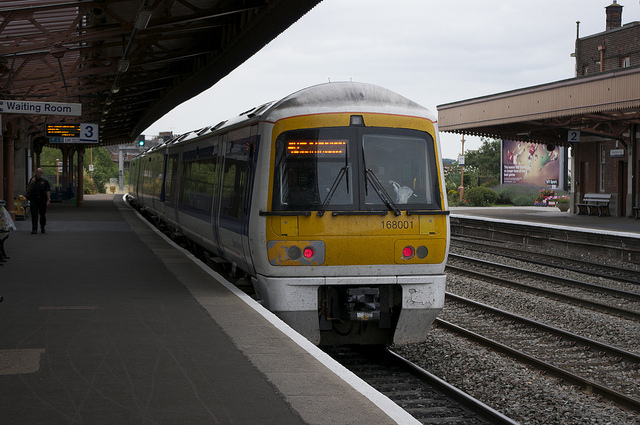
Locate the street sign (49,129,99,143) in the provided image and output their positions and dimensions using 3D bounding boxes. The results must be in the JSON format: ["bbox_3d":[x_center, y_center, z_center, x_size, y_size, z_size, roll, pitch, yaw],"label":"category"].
[{"bbox_3d":[-12.960,-3.825,27.044,2.958,0.423,0.615,-1,1,14],"label":"street sign"}]

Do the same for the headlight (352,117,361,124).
[{"bbox_3d":[0.576,-1.423,7.915,0.151,0.105,0.083,0,-2,-1],"label":"headlight"}]

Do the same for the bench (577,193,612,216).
[{"bbox_3d":[16.860,-0.750,30.952,0.926,1.233,2.375,-2,3,-10],"label":"bench"}]

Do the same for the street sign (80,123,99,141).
[{"bbox_3d":[-11.194,-3.854,24.874,0.963,0.960,0.519,1,-6,-14],"label":"street sign"}]

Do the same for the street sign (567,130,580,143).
[{"bbox_3d":[15.191,-4.559,30.581,0.799,0.710,0.080,1,-1,-4],"label":"street sign"}]
